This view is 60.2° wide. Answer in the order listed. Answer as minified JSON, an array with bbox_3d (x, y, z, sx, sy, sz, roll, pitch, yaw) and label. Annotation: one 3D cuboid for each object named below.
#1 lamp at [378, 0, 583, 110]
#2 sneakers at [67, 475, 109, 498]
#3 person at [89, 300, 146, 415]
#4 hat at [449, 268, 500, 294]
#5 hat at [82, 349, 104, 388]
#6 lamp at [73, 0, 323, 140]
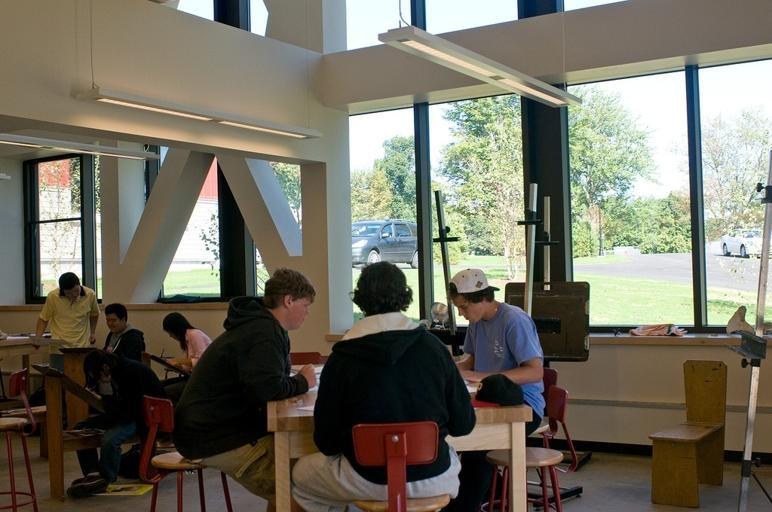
[{"bbox_3d":[0.788,-1.579,5.619,2.178,0.249,0.281,-1,-2,-44],"label":"lamp"},{"bbox_3d":[-2.879,2.231,6.430,0.424,0.182,0.153,-6,-17,-11],"label":"sneakers"},{"bbox_3d":[-3.000,1.094,7.444,0.599,1.098,0.583,9,-14,-34],"label":"person"},{"bbox_3d":[0.705,0.208,5.407,0.280,0.112,0.176,-3,5,-38],"label":"hat"},{"bbox_3d":[-2.667,1.034,6.080,0.235,0.374,0.232,3,2,-17],"label":"hat"},{"bbox_3d":[-2.043,-1.973,7.143,2.284,0.839,0.445,-1,-2,-39],"label":"lamp"}]
